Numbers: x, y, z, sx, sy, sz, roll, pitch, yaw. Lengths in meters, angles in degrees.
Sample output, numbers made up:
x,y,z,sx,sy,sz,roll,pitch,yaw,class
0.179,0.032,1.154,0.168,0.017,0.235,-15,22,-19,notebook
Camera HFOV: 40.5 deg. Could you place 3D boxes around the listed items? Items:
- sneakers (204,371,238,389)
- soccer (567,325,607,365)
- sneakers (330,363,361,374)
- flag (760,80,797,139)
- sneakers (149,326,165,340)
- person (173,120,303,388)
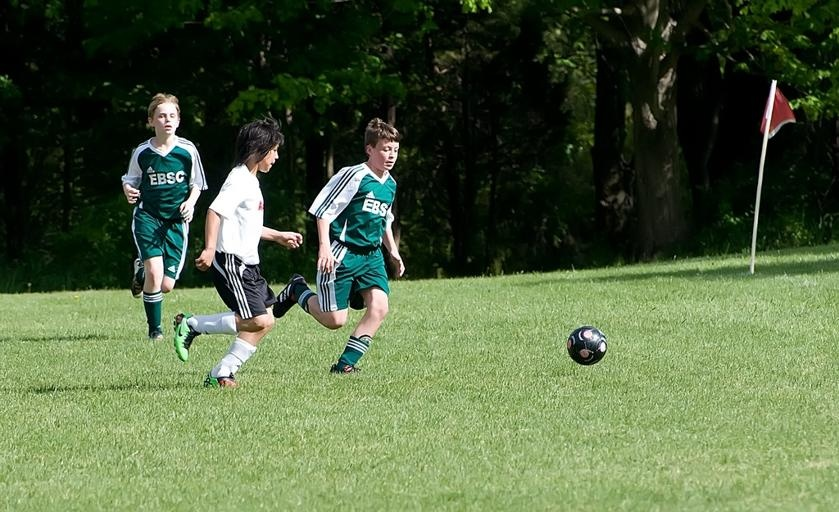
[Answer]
x,y,z,sx,sy,sz,roll,pitch,yaw,class
-2.505,1.579,14.472,0.468,0.206,0.172,0,12,6,sneakers
2.195,1.237,15.149,0.486,0.498,0.484,9,-14,-18,soccer
-0.985,1.467,15.004,0.381,0.171,0.141,-1,22,-2,sneakers
7.168,-3.004,22.723,0.693,1.116,0.501,-16,-17,-1,flag
-3.952,1.184,17.252,0.144,0.221,0.219,-10,-16,14,sneakers
-2.294,-0.010,14.428,1.520,3.338,1.000,-3,14,-8,person
